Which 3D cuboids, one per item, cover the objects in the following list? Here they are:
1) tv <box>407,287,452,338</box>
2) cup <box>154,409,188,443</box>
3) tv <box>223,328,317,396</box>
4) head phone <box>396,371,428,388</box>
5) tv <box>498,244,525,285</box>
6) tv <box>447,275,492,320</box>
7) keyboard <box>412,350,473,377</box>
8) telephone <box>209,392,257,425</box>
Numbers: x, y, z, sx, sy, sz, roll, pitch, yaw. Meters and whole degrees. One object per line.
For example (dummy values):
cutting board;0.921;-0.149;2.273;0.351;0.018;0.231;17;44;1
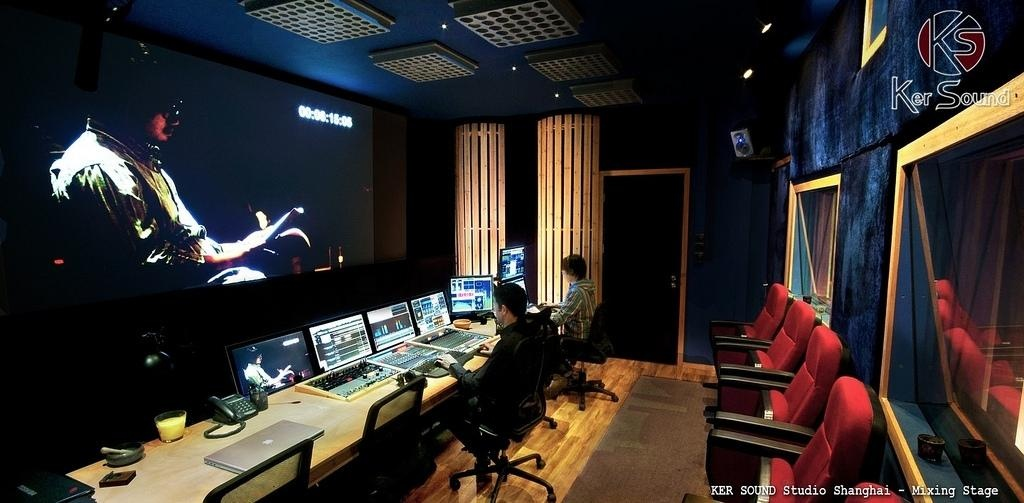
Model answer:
tv;-1.126;0.825;7.519;0.081;0.430;0.668;-10;2;34
cup;-3.417;1.760;5.703;0.315;0.223;0.306;0;-5;0
tv;-2.683;1.219;6.153;0.030;0.542;0.813;-19;-4;41
head phone;-1.123;1.410;6.288;0.347;0.093;0.221;-1;3;-1
tv;-0.032;0.252;8.651;0.140;0.610;0.669;-2;7;33
tv;-0.609;0.651;8.006;0.749;0.574;0.227;1;-2;-14
keyboard;-0.878;1.324;6.574;0.307;0.060;0.388;-10;14;21
telephone;-2.899;1.621;5.858;0.368;0.145;0.330;5;5;11
